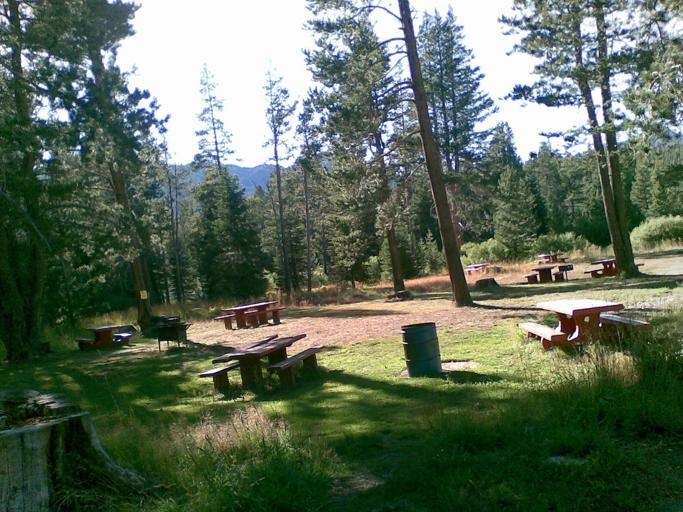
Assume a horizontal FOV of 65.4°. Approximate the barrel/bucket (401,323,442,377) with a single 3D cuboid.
[{"bbox_3d":[1.517,1.733,10.070,0.604,1.026,0.639,-11,5,1],"label":"barrel/bucket"}]
